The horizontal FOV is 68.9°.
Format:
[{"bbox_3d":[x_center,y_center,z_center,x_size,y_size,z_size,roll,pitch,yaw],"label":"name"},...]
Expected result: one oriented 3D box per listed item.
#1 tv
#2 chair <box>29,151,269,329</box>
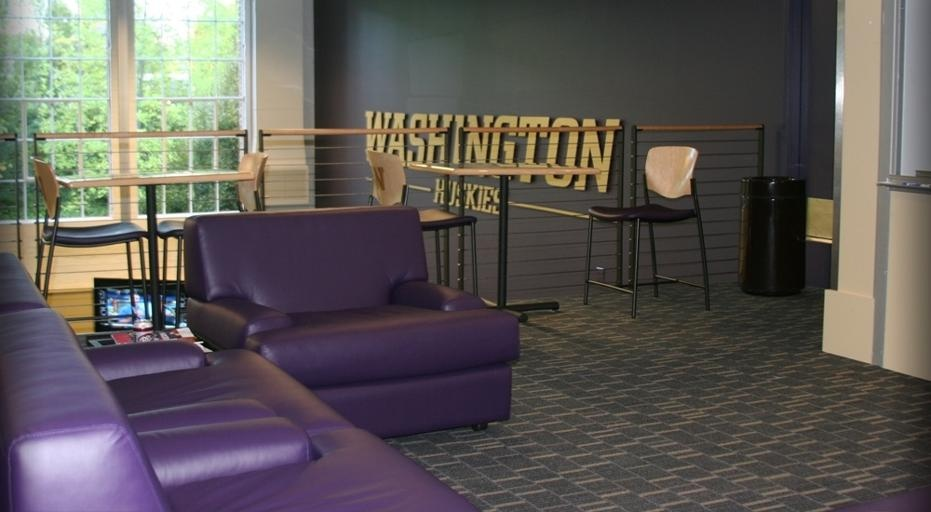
[{"bbox_3d":[-3.530,0.577,7.492,1.134,0.547,0.075,-4,2,10],"label":"tv"},{"bbox_3d":[-2.684,-0.091,5.803,1.867,1.182,1.728,-3,3,-25],"label":"chair"}]
